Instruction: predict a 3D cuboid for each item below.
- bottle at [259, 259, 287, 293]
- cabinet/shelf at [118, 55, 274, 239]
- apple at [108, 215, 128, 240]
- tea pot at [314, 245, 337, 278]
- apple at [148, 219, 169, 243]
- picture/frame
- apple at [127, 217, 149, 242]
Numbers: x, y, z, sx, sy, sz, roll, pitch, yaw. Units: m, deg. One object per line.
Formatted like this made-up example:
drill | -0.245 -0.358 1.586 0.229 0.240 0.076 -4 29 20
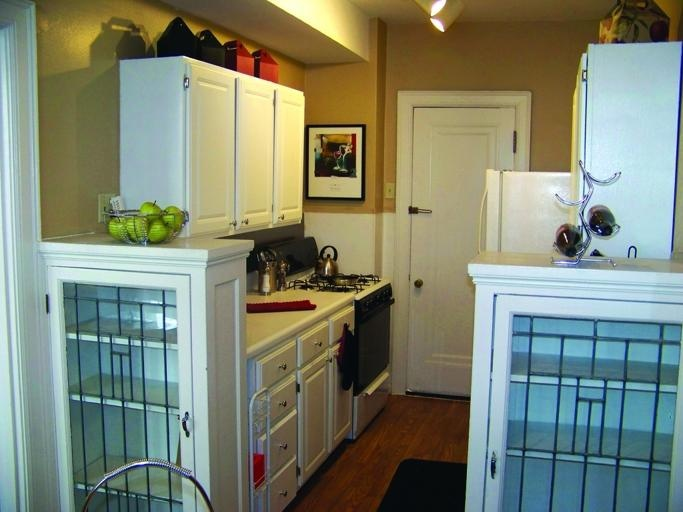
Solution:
bottle | -0.483 0.136 4.142 0.096 0.232 0.231 4 9 35
cabinet/shelf | -0.760 -0.607 3.421 0.366 0.935 1.027 5 9 18
apple | -1.019 -0.132 2.652 0.090 0.083 0.107 -1 19 -11
tea pot | -0.118 0.041 4.756 0.161 0.277 0.238 2 -7 34
apple | -0.825 -0.115 2.634 0.104 0.114 0.054 -4 8 -21
picture/frame | -0.032 -0.786 4.819 0.569 0.761 0.031 1 2 15
apple | -0.908 -0.117 2.598 0.083 0.125 0.050 1 7 17
